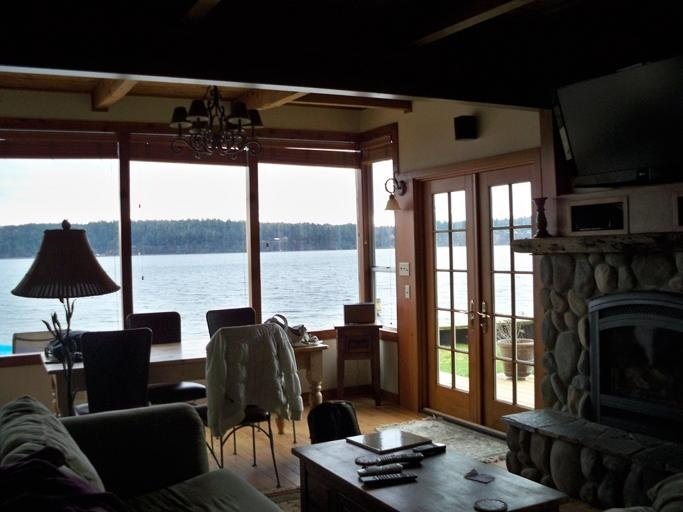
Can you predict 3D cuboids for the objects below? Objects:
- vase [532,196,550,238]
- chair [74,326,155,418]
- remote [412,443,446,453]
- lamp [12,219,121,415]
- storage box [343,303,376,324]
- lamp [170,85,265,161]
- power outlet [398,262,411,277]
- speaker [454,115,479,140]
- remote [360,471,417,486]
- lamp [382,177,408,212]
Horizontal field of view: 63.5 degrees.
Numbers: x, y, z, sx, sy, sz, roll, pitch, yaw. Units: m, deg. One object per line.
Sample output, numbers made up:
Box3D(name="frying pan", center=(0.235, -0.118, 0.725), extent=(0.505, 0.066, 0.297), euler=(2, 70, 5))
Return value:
Box3D(name="vase", center=(1.520, -0.300, 4.199), extent=(0.106, 0.328, 0.279), euler=(-1, 0, 21))
Box3D(name="chair", center=(-1.585, 0.802, 4.015), extent=(0.511, 0.947, 0.575), euler=(1, -2, -21))
Box3D(name="remote", center=(0.517, 1.131, 3.247), extent=(0.138, 0.034, 0.079), euler=(-2, 3, -22))
Box3D(name="lamp", center=(-1.931, 0.463, 3.785), extent=(0.830, 1.179, 0.614), euler=(-2, 0, 45))
Box3D(name="storage box", center=(0.194, 0.661, 6.231), extent=(0.377, 0.277, 0.208), euler=(0, -4, -6))
Box3D(name="lamp", center=(-1.101, -1.244, 4.843), extent=(0.765, 0.731, 0.730), euler=(-1, 2, -7))
Box3D(name="power outlet", center=(0.686, 0.143, 6.005), extent=(0.032, 0.160, 0.164), euler=(2, -2, -26))
Box3D(name="speaker", center=(1.157, -1.181, 5.169), extent=(0.212, 0.224, 0.225), euler=(5, 4, 37))
Box3D(name="remote", center=(0.245, 1.160, 2.878), extent=(0.299, 0.060, 0.098), euler=(-1, 4, -11))
Box3D(name="lamp", center=(0.559, -0.696, 6.140), extent=(0.225, 0.388, 0.448), euler=(-1, 0, -11))
